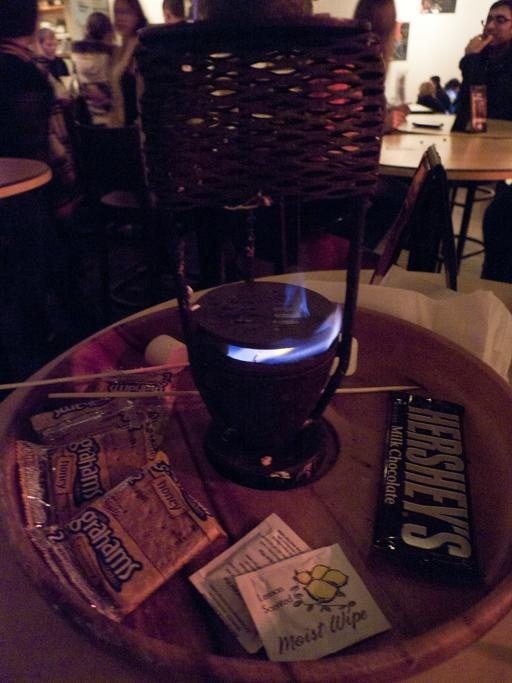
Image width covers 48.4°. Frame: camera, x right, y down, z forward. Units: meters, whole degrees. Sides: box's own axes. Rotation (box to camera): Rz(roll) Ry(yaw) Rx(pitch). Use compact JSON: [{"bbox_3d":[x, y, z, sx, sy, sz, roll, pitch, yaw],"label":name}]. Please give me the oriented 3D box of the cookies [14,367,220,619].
[{"bbox_3d":[-0.183,0.203,0.748,0.295,0.137,0.343,-8,25,-18],"label":"cookies"}]
